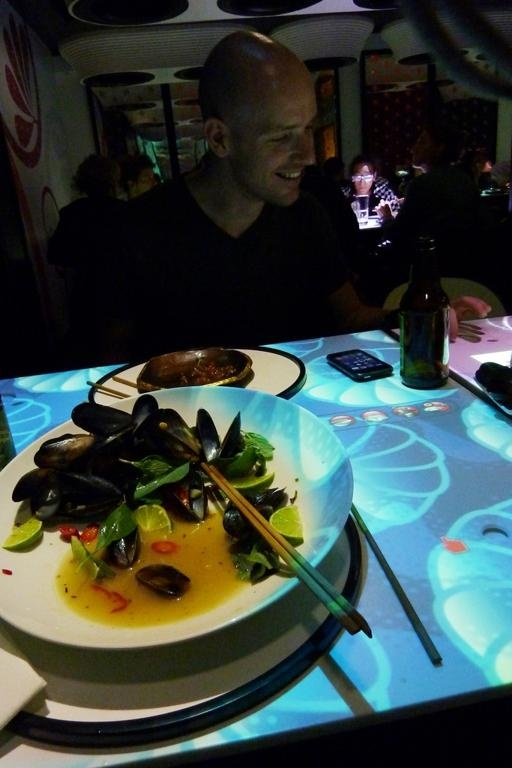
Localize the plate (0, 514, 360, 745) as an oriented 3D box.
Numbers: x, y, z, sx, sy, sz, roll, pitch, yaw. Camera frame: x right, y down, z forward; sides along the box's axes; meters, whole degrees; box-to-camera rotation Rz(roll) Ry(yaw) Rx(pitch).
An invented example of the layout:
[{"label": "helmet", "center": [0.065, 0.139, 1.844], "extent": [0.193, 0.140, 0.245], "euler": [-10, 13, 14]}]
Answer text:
[{"label": "plate", "center": [-0.053, 0.185, 0.429], "extent": [0.198, 0.008, 0.186], "euler": [-3, 24, 8]}]

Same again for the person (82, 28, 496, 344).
[{"label": "person", "center": [-0.008, -0.370, 1.535], "extent": [0.860, 0.684, 0.706], "euler": [-31, 59, -20]}]

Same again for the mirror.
[{"label": "mirror", "center": [-0.084, -0.580, 1.329], "extent": [0.560, 0.264, 0.062], "euler": [-8, 16, -5]}]

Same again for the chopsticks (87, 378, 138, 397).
[{"label": "chopsticks", "center": [-0.235, 0.005, 0.951], "extent": [0.088, 0.013, 0.013], "euler": [12, 42, 33]}]

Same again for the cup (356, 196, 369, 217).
[{"label": "cup", "center": [0.268, -0.452, 1.467], "extent": [0.039, 0.057, 0.037], "euler": [-3, 62, 5]}]
